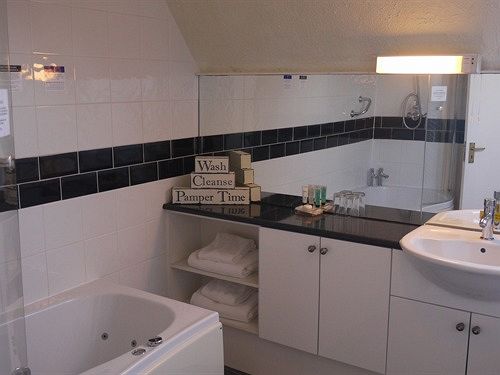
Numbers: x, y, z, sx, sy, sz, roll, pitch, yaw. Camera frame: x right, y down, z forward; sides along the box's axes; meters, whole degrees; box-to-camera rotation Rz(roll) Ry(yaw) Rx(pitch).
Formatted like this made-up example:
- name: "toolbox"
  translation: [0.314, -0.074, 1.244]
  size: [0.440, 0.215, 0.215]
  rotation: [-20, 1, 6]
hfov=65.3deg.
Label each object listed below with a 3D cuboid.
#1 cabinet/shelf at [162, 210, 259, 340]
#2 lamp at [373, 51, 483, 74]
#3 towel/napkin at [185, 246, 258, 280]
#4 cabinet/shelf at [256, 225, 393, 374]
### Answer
- name: "cabinet/shelf"
  translation: [-0.191, 0.539, 2.833]
  size: [0.786, 0.785, 0.392]
  rotation: [4, 10, 35]
- name: "lamp"
  translation: [0.986, -0.695, 2.203]
  size: [0.528, 0.123, 0.046]
  rotation: [4, 10, 30]
- name: "towel/napkin"
  translation: [-0.184, 0.528, 2.727]
  size: [0.258, 0.077, 0.271]
  rotation: [4, 5, 28]
- name: "cabinet/shelf"
  translation: [0.463, 0.645, 2.301]
  size: [0.826, 0.783, 0.338]
  rotation: [4, 6, 30]
